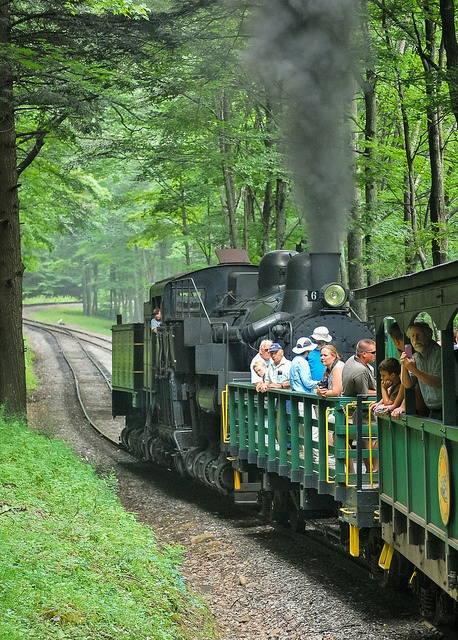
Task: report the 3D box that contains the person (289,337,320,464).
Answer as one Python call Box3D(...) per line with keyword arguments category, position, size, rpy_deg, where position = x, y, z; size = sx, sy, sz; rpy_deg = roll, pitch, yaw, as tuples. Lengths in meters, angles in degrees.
Box3D(category="person", position=(0.925, 0.849, 8.113), size=(0.489, 1.295, 0.513), rpy_deg=(-4, 8, -3))

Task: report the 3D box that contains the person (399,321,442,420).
Box3D(category="person", position=(1.300, 0.341, 5.036), size=(0.251, 0.641, 0.666), rpy_deg=(-1, 0, 12))

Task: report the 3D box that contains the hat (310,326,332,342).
Box3D(category="hat", position=(1.094, 0.175, 8.731), size=(0.239, 0.101, 0.216), rpy_deg=(1, 4, 5))
